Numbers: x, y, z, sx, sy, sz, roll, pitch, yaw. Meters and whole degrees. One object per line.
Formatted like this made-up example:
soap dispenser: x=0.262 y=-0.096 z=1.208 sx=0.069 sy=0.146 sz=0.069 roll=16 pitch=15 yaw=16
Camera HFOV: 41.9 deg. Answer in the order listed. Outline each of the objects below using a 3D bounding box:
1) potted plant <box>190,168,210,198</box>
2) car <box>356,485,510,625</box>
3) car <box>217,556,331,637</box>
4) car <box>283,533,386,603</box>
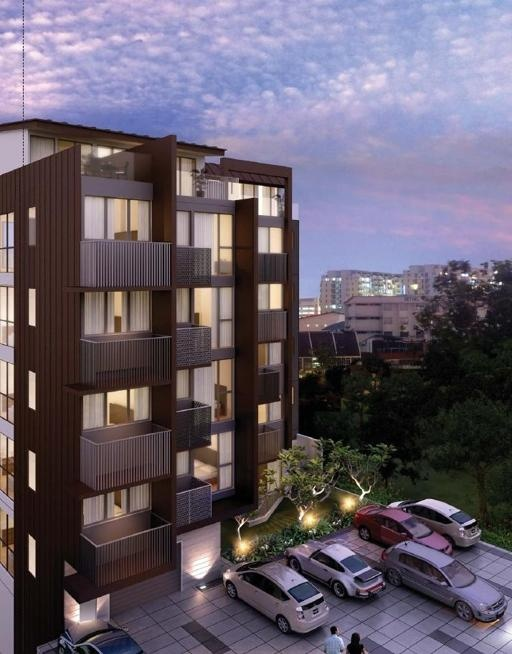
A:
potted plant: x=-1.847 y=-4.801 z=22.636 sx=0.285 sy=0.879 sz=0.720 roll=3 pitch=9 yaw=24
car: x=5.817 y=7.737 z=20.665 sx=1.577 sy=1.101 sz=3.469 roll=-9 pitch=15 yaw=-42
car: x=0.553 y=7.880 z=20.143 sx=1.569 sy=1.143 sz=3.689 roll=-4 pitch=11 yaw=-40
car: x=2.535 y=7.791 z=21.936 sx=1.658 sy=0.988 sz=3.613 roll=-5 pitch=10 yaw=-41
